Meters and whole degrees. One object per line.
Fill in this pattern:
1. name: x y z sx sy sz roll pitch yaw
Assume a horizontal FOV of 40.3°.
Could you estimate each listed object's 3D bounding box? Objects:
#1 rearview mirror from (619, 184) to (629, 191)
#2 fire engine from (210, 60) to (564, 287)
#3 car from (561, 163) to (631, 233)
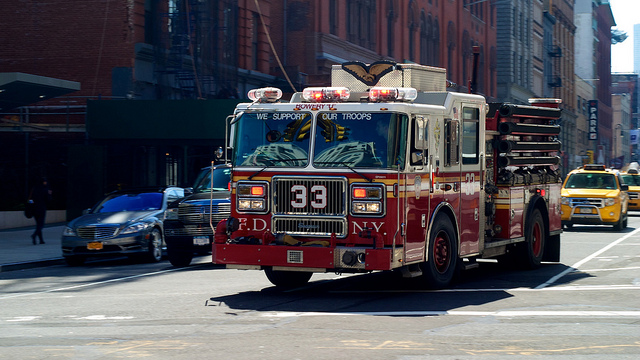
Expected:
1. rearview mirror: 13.318 0.355 38.447 0.348 0.208 0.288 0 1 13
2. fire engine: 2.695 0.045 25.115 5.483 3.973 10.537 -3 -4 39
3. car: 12.029 0.888 38.326 2.686 2.865 2.598 2 10 18
